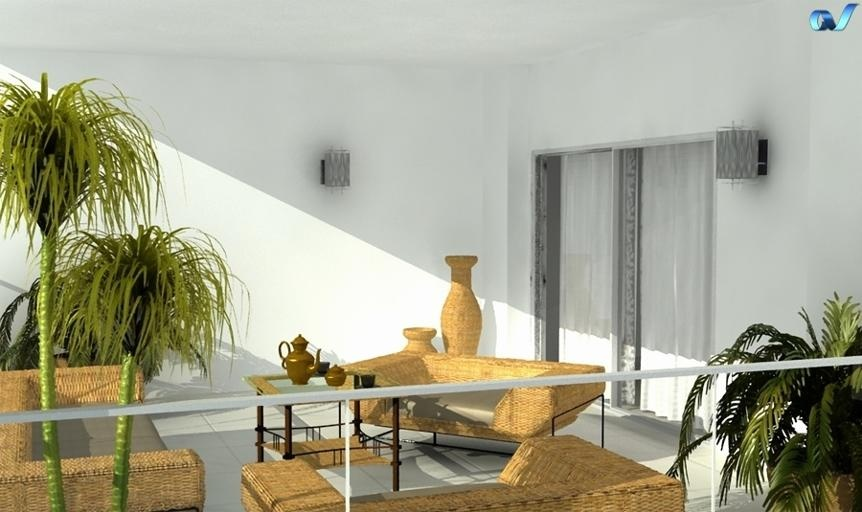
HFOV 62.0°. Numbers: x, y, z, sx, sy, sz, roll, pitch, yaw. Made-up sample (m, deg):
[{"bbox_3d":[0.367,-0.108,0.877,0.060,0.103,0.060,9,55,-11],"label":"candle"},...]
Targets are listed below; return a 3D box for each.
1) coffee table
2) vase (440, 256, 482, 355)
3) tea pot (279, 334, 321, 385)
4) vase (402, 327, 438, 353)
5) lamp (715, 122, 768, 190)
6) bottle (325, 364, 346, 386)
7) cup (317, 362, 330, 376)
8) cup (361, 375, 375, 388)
[{"bbox_3d":[-0.852,1.576,6.306,1.359,0.926,1.333,4,-8,-33],"label":"coffee table"},{"bbox_3d":[0.350,0.585,8.664,0.478,1.171,0.242,0,2,0],"label":"vase"},{"bbox_3d":[-1.103,0.872,6.080,0.288,0.399,0.311,0,1,0],"label":"tea pot"},{"bbox_3d":[-0.142,0.979,8.476,0.334,0.291,0.320,0,2,-13],"label":"vase"},{"bbox_3d":[2.763,-0.915,6.391,0.494,0.481,0.465,-1,2,-22],"label":"lamp"},{"bbox_3d":[-0.792,0.990,5.975,0.169,0.157,0.162,0,1,0],"label":"bottle"},{"bbox_3d":[-0.940,0.995,6.335,0.119,0.085,0.117,-2,-6,0],"label":"cup"},{"bbox_3d":[-0.515,1.013,5.828,0.123,0.080,0.099,0,-3,-11],"label":"cup"}]
